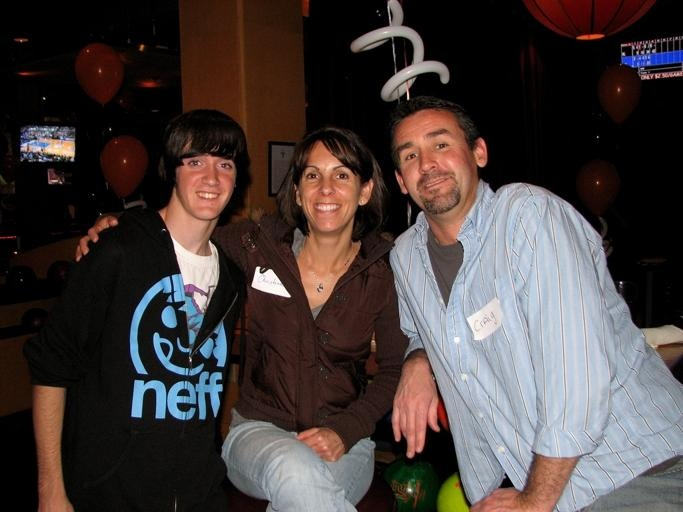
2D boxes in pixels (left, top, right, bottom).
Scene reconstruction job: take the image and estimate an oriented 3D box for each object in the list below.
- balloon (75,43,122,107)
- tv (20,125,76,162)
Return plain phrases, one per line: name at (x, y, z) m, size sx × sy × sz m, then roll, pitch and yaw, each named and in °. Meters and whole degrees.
balloon at (-2.789, -2.081, 6.192) m, size 0.585 × 0.845 × 0.597 m, roll -8°, pitch 12°, yaw -30°
tv at (-5.248, -1.938, 9.491) m, size 1.085 × 0.877 × 0.610 m, roll -1°, pitch 9°, yaw -25°
